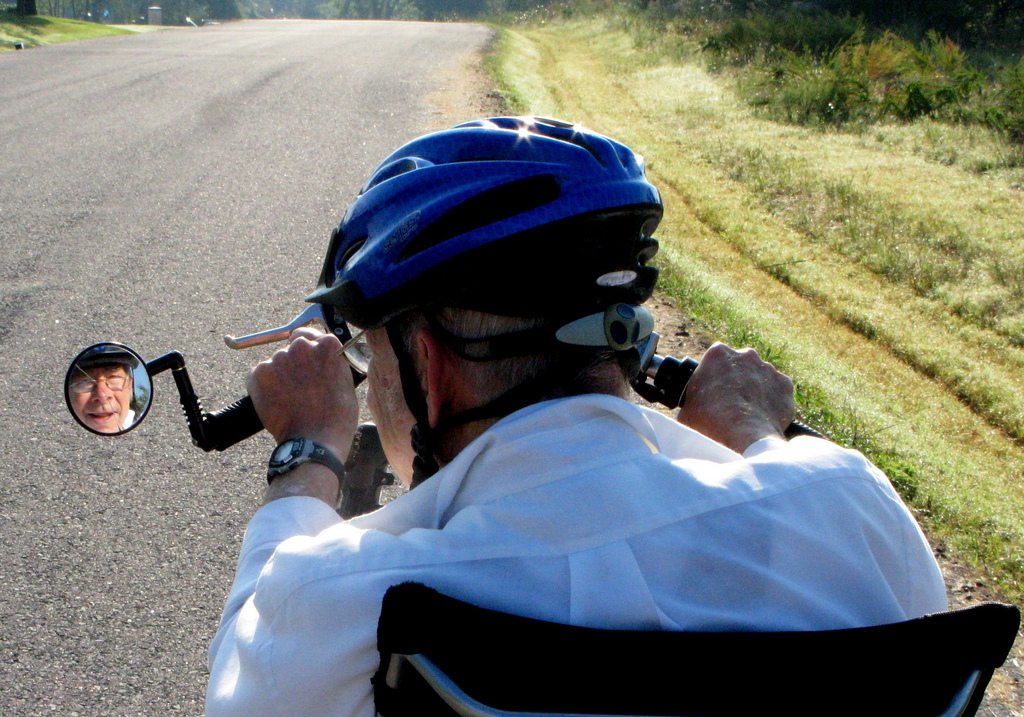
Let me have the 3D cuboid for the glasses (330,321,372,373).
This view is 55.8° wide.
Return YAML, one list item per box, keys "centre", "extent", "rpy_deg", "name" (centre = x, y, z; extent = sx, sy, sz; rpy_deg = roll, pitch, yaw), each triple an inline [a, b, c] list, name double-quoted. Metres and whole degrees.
- centre: [-0.625, -0.033, 3.929]
  extent: [0.133, 0.197, 0.158]
  rpy_deg: [1, 11, -36]
  name: "glasses"
